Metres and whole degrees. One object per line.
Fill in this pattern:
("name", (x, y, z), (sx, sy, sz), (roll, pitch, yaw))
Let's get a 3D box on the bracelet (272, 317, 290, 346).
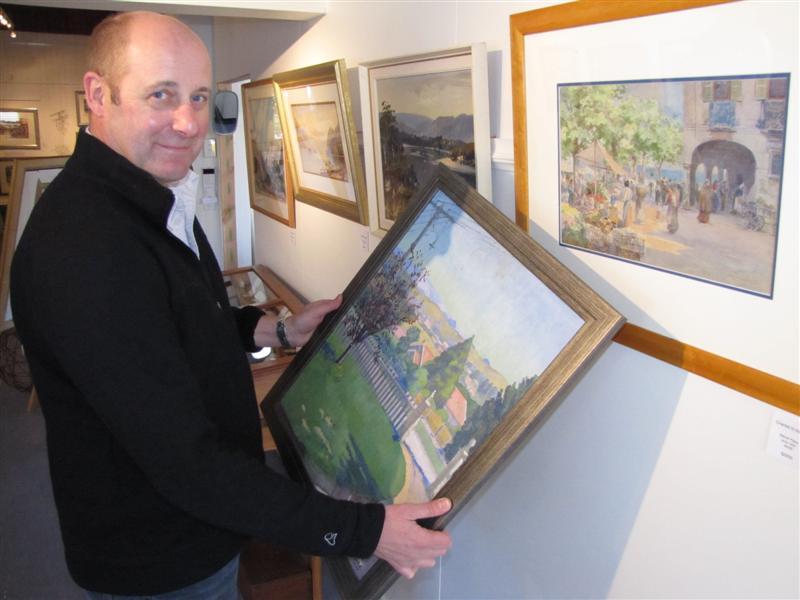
("bracelet", (-0.424, 0.120, 1.983), (0.049, 0.091, 0.077), (2, 16, 3))
